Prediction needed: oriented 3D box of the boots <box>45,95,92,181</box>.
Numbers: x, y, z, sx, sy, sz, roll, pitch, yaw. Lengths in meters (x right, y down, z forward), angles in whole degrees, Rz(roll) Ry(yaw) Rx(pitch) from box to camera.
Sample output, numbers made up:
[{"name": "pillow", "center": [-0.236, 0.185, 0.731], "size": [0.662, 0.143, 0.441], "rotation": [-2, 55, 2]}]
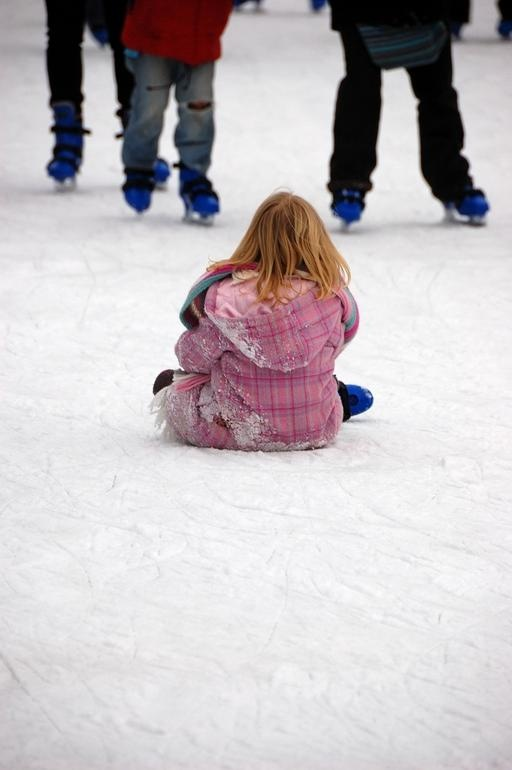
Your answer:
[{"name": "boots", "center": [-0.424, -0.537, 1.862], "size": [0.059, 0.077, 0.168], "rotation": [-1, 51, 1]}]

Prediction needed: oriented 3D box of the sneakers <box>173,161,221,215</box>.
[{"name": "sneakers", "center": [-0.153, -0.499, 2.093], "size": [0.064, 0.075, 0.169], "rotation": [-15, 46, -9]}]
